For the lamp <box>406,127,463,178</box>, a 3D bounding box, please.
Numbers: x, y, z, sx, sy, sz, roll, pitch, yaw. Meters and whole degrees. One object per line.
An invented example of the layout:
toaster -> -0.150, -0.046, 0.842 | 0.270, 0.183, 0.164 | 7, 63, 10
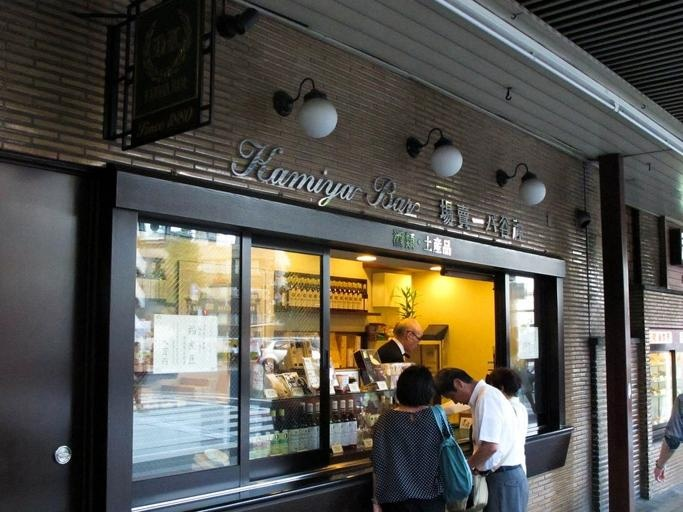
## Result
lamp -> 0.952, -1.037, 5.601 | 0.538, 0.552, 0.301 | -6, -6, 40

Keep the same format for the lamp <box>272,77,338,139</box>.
lamp -> -0.303, -1.264, 4.529 | 0.388, 0.622, 0.432 | 6, -11, -37

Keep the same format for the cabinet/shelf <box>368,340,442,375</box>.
cabinet/shelf -> 1.128, 1.616, 8.640 | 0.818, 0.581, 0.486 | -2, -3, 11

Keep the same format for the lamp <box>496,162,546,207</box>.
lamp -> 2.122, -0.849, 6.565 | 0.307, 0.567, 0.556 | -2, -3, -41
